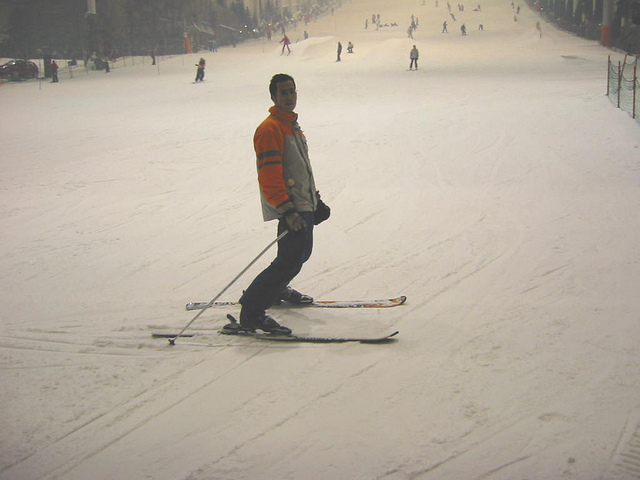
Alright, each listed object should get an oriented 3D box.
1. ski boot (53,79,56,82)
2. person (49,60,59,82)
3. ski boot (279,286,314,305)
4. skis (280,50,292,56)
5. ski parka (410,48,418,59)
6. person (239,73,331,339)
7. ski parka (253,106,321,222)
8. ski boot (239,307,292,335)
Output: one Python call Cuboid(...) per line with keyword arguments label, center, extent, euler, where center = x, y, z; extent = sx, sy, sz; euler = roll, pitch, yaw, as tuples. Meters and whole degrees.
Cuboid(label="ski boot", center=(-9.319, -5.622, 23.450), extent=(0.081, 0.092, 0.183), euler=(-6, 12, -11))
Cuboid(label="person", center=(-9.434, -6.000, 23.723), extent=(0.195, 0.734, 0.912), euler=(-8, 13, -20))
Cuboid(label="ski boot", center=(-0.240, 0.565, 6.684), extent=(0.395, 0.176, 0.133), euler=(-1, 9, 1))
Cuboid(label="skis", center=(-1.605, -9.041, 32.128), extent=(0.184, 0.296, 1.276), euler=(15, 29, 7))
Cuboid(label="ski parka", center=(3.136, -6.179, 22.088), extent=(0.232, 0.304, 0.460), euler=(-2, 12, 7))
Cuboid(label="person", center=(-0.334, -0.331, 6.225), extent=(0.669, 2.397, 0.767), euler=(2, 13, 22))
Cuboid(label="ski parka", center=(-0.324, -0.729, 6.119), extent=(0.420, 0.977, 0.447), euler=(4, 14, 28))
Cuboid(label="ski boot", center=(-0.456, 0.756, 6.202), extent=(0.573, 0.256, 0.192), euler=(2, 6, -1))
